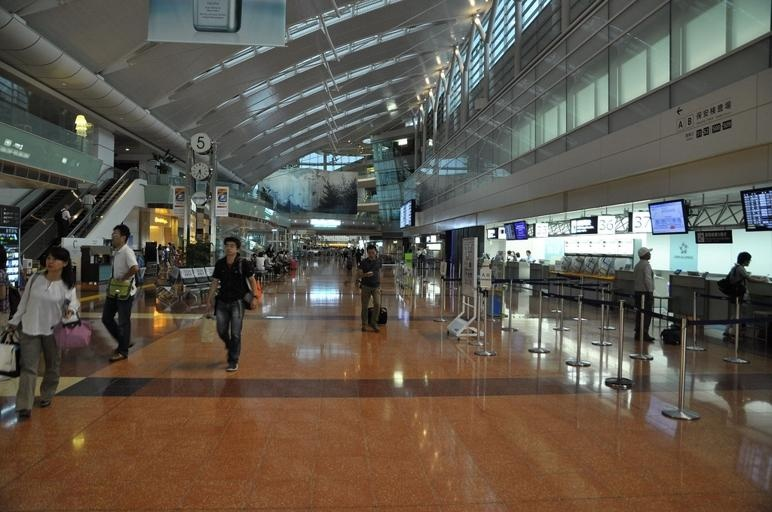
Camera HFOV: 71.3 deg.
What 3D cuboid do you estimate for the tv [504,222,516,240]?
[{"bbox_3d":[5.099,-0.965,22.005,0.129,0.524,0.549,3,2,-26],"label":"tv"}]

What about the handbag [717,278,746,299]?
[{"bbox_3d":[7.424,0.719,11.604,0.530,0.520,0.381,20,10,37],"label":"handbag"}]

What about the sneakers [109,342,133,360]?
[{"bbox_3d":[-4.879,1.810,9.937,0.189,0.252,0.632,-1,-6,7],"label":"sneakers"}]

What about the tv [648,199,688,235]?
[{"bbox_3d":[6.609,-0.917,12.525,0.115,0.634,0.857,-4,2,-23],"label":"tv"}]

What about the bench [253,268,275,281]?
[{"bbox_3d":[-5.776,1.072,25.703,0.752,0.792,0.729,2,-14,-14],"label":"bench"}]

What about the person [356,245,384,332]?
[{"bbox_3d":[-0.373,0.720,12.460,0.506,2.084,0.839,1,11,0],"label":"person"}]

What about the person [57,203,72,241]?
[{"bbox_3d":[-13.407,-1.294,22.218,0.534,1.297,1.031,-5,13,-31],"label":"person"}]

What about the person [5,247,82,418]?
[{"bbox_3d":[-4.915,1.049,7.686,0.896,2.266,0.747,-8,14,-40],"label":"person"}]

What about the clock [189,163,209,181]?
[{"bbox_3d":[-6.692,-2.957,19.069,0.603,0.615,0.186,6,4,18],"label":"clock"}]

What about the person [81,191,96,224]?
[{"bbox_3d":[-13.323,-2.078,23.987,0.452,1.205,1.621,-4,12,-27],"label":"person"}]

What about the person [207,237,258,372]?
[{"bbox_3d":[-2.659,0.851,9.286,0.776,2.300,0.704,-3,12,-20],"label":"person"}]

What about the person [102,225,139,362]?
[{"bbox_3d":[-5.016,0.629,10.073,0.630,2.539,1.516,-4,12,-26],"label":"person"}]
